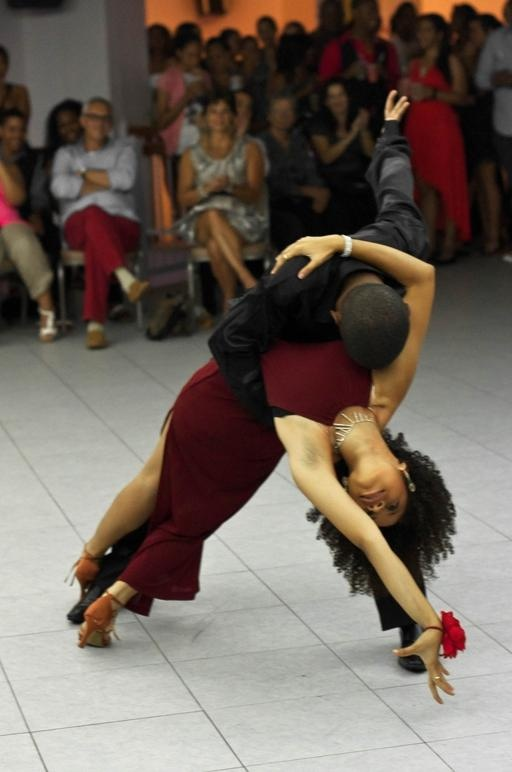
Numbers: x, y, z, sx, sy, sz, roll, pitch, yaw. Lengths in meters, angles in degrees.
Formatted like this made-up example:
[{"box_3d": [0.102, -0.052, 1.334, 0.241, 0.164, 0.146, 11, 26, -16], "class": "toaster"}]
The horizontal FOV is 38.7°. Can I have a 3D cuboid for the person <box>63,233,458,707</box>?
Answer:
[{"box_3d": [0.045, 0.165, 1.529, 0.911, 0.926, 0.452, 5, 9, 37], "class": "person"}]

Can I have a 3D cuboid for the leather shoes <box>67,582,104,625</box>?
[{"box_3d": [-0.411, 0.531, 1.765, 0.041, 0.121, 0.047, 38, -17, 35], "class": "leather shoes"}]

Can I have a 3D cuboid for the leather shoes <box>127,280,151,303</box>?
[{"box_3d": [-0.760, -0.590, 4.637, 0.091, 0.084, 0.190, 35, -25, -13], "class": "leather shoes"}]

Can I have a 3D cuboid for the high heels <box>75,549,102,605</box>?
[{"box_3d": [-0.431, 0.479, 1.853, 0.067, 0.138, 0.049, 10, 5, -15], "class": "high heels"}]

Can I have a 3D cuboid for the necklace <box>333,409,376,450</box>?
[{"box_3d": [0.188, 0.073, 1.399, 0.075, 0.075, 0.060, -9, -32, 8], "class": "necklace"}]

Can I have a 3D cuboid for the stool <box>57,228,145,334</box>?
[{"box_3d": [-0.971, -0.741, 4.828, 0.666, 0.500, 0.470, -4, 1, -26], "class": "stool"}]
